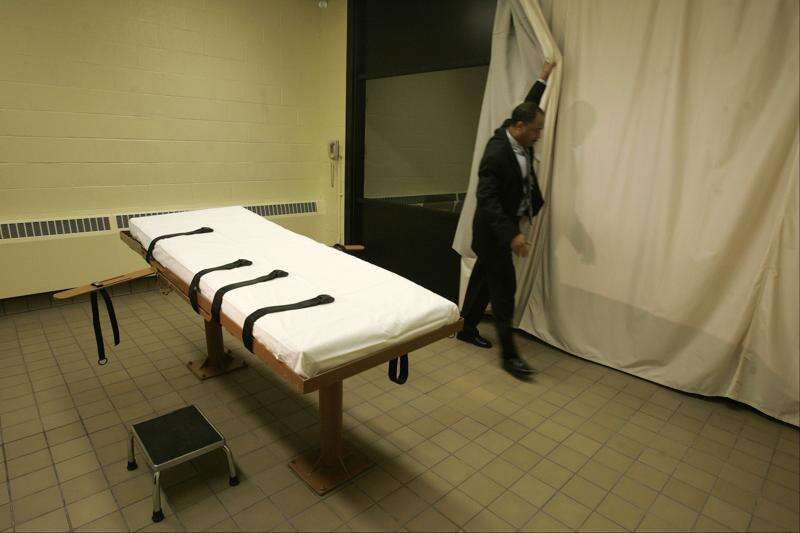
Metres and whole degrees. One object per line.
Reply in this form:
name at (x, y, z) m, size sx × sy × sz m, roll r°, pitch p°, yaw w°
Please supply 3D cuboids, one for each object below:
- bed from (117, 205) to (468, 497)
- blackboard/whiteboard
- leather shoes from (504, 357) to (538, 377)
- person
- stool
bed at (-0.785, 0.115, 3.382) m, size 2.208 × 0.516 × 1.074 m, roll 17°, pitch 29°, yaw 41°
blackboard/whiteboard at (0.282, -1.291, 4.742) m, size 1.421 × 1.027 × 0.051 m, roll 12°, pitch 20°, yaw 42°
leather shoes at (0.984, 0.838, 4.088) m, size 0.130 × 0.078 × 0.213 m, roll -9°, pitch 22°, yaw -29°
person at (0.915, -0.332, 4.094) m, size 0.806 × 2.223 × 0.704 m, roll -23°, pitch 29°, yaw -38°
stool at (-1.321, 1.168, 3.085) m, size 0.599 × 0.387 × 0.588 m, roll -6°, pitch 17°, yaw -31°
